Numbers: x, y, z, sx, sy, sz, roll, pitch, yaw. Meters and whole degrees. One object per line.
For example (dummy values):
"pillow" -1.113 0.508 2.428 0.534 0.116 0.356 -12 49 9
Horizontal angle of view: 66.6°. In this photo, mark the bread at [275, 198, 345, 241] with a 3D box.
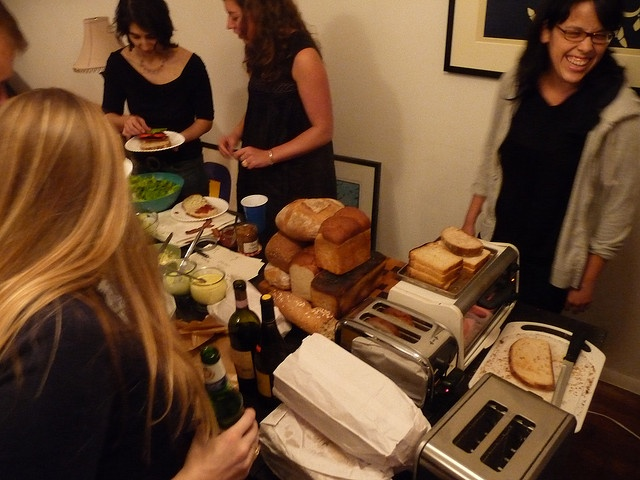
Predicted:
"bread" -0.045 -0.092 1.913 0.196 0.073 0.183 2 31 1

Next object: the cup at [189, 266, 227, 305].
"cup" -0.411 0.168 1.847 0.132 0.099 0.134 2 31 -1

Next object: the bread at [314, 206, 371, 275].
"bread" 0.084 0.012 1.800 0.103 0.151 0.171 27 41 27

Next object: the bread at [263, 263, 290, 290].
"bread" -0.157 0.149 1.918 0.077 0.105 0.035 13 66 50

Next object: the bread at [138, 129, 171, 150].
"bread" -0.928 -0.603 2.760 0.148 0.056 0.149 -4 23 1

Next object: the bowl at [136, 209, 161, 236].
"bowl" -0.688 -0.072 1.963 0.106 0.063 0.105 7 34 -4

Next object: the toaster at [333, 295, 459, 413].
"toaster" 0.233 0.318 1.630 0.394 0.287 0.214 25 45 28

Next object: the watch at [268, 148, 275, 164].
"watch" -0.265 -0.456 2.668 0.016 0.058 0.057 -6 17 -23

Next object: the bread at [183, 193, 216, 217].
"bread" -0.612 -0.168 2.458 0.146 0.050 0.104 32 49 32

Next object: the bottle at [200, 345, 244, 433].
"bottle" -0.268 0.419 1.350 0.081 0.276 0.071 -18 50 -6

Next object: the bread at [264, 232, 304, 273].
"bread" -0.159 0.075 1.992 0.127 0.104 0.169 30 43 10

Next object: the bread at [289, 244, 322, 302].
"bread" -0.049 0.129 1.821 0.087 0.141 0.154 29 40 36

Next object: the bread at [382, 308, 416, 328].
"bread" 0.261 0.244 1.576 0.050 0.025 0.066 -15 40 -43

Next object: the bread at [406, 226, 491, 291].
"bread" 0.463 0.033 1.699 0.170 0.069 0.259 26 40 36

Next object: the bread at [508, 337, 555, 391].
"bread" 0.692 0.402 1.590 0.107 0.030 0.198 -4 31 18

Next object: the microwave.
"microwave" 0.471 0.299 1.785 0.353 0.353 0.478 16 37 29

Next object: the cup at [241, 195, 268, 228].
"cup" -0.303 -0.151 2.418 0.147 0.151 0.149 -1 31 1

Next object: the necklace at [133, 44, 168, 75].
"necklace" -1.007 -1.081 2.901 0.186 0.112 0.205 5 -14 -32

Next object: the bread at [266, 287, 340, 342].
"bread" -0.060 0.232 1.750 0.251 0.075 0.129 31 33 35

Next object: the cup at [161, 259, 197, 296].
"cup" -0.532 0.146 1.917 0.154 0.132 0.175 1 11 -1
